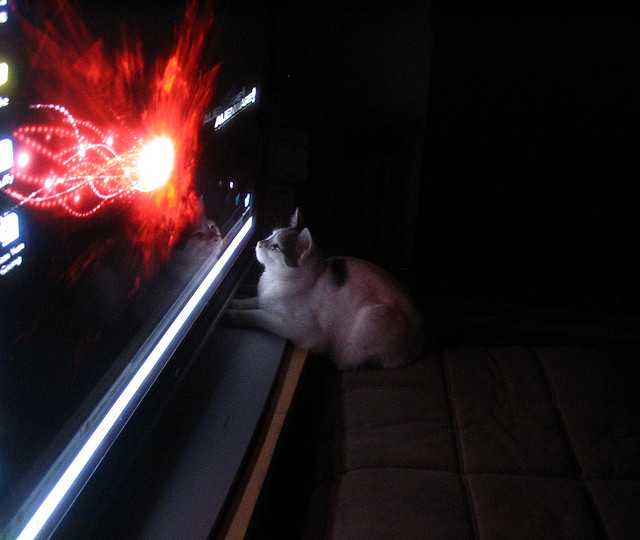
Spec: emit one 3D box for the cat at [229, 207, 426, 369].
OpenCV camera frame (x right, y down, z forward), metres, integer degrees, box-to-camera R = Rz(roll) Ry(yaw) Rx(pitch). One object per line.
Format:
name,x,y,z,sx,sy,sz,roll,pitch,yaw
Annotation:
cat,0.028,0.066,1.658,0.591,0.437,0.380,10,17,-7
